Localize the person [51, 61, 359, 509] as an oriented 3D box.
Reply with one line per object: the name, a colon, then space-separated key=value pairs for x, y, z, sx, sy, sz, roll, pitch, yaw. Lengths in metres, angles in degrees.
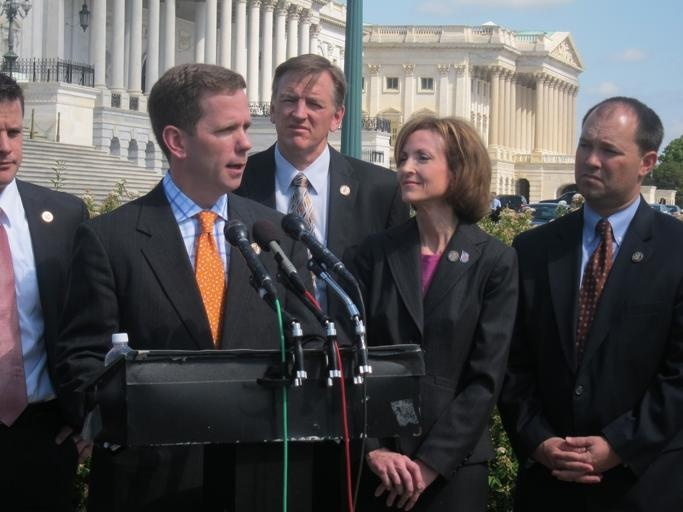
person: x=-0.711 y=0.192 z=3.669 sx=1.243 sy=2.251 sz=1.013 roll=2 pitch=5 yaw=-3

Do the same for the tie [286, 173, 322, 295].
tie: x=-0.252 y=-0.207 z=5.022 sx=0.175 sy=0.899 sz=0.171 roll=0 pitch=-26 yaw=-12

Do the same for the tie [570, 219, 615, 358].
tie: x=1.404 y=0.177 z=4.373 sx=0.181 sy=0.846 sz=0.087 roll=20 pitch=-31 yaw=-3

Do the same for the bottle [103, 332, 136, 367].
bottle: x=-0.903 y=0.388 z=3.188 sx=0.112 sy=0.138 sz=0.202 roll=0 pitch=6 yaw=-18

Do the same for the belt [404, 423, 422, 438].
belt: x=0.310 y=0.748 z=3.344 sx=0.031 sy=0.053 sz=0.086 roll=7 pitch=7 yaw=41

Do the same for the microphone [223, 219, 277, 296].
microphone: x=-0.370 y=0.029 z=3.359 sx=0.132 sy=0.493 sz=0.136 roll=-33 pitch=-43 yaw=3

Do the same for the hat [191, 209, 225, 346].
hat: x=-0.637 y=0.103 z=3.825 sx=0.135 sy=0.650 sz=0.084 roll=-2 pitch=-16 yaw=-10
